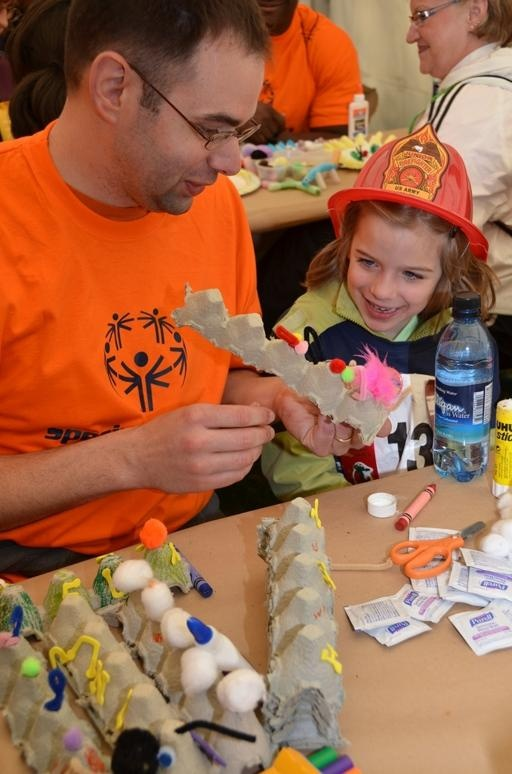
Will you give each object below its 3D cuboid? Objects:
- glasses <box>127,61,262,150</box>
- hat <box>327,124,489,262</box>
[{"bbox_3d":[-0.108,-0.422,1.024,0.038,0.131,0.128,-42,-6,19],"label":"glasses"},{"bbox_3d":[0.375,-0.479,1.522,0.390,0.217,0.367,8,14,-14],"label":"hat"}]
